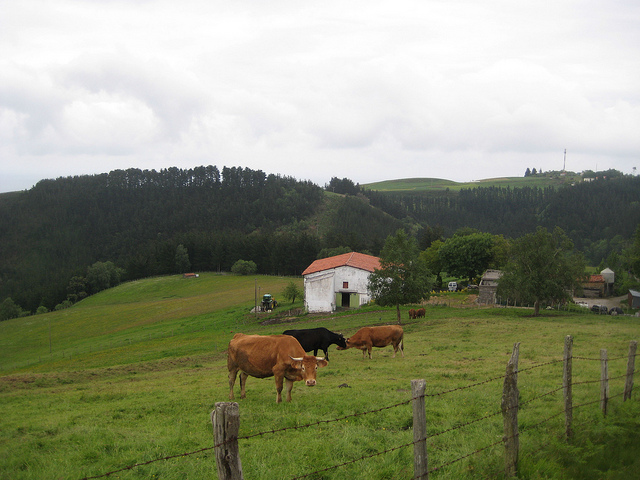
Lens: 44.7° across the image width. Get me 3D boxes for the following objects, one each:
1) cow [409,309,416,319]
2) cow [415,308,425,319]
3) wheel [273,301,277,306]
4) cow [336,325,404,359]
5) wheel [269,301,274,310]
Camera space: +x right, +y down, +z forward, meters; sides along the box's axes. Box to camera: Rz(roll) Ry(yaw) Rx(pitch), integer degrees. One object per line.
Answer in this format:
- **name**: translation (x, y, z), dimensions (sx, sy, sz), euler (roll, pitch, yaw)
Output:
- **cow**: translation (14.298, 11.532, 120.145), dimensions (0.971, 1.374, 0.852), euler (1, -1, 6)
- **cow**: translation (15.509, 11.493, 120.602), dimensions (1.371, 1.410, 2.029), euler (1, -2, 13)
- **wheel**: translation (-8.443, 12.157, 148.300), dimensions (0.649, 1.203, 0.592), euler (-1, -1, 0)
- **cow**: translation (6.554, 12.927, 98.741), dimensions (8.241, 4.779, 2.260), euler (-4, 12, 3)
- **wheel**: translation (-8.950, 12.270, 144.544), dimensions (1.129, 1.824, 0.907), euler (1, 4, -10)
